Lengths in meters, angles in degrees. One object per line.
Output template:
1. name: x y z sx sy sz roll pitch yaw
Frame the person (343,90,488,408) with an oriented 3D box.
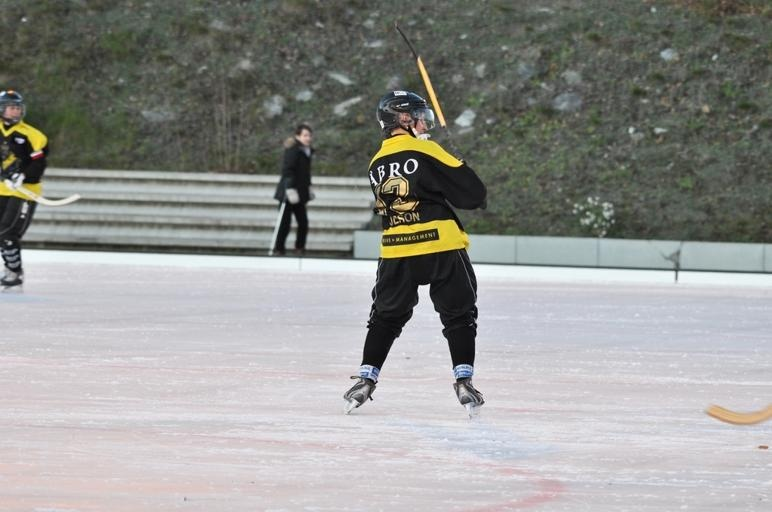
1. person: 0.352 -0.073 19.365 1.459 3.403 1.195 2 12 2
